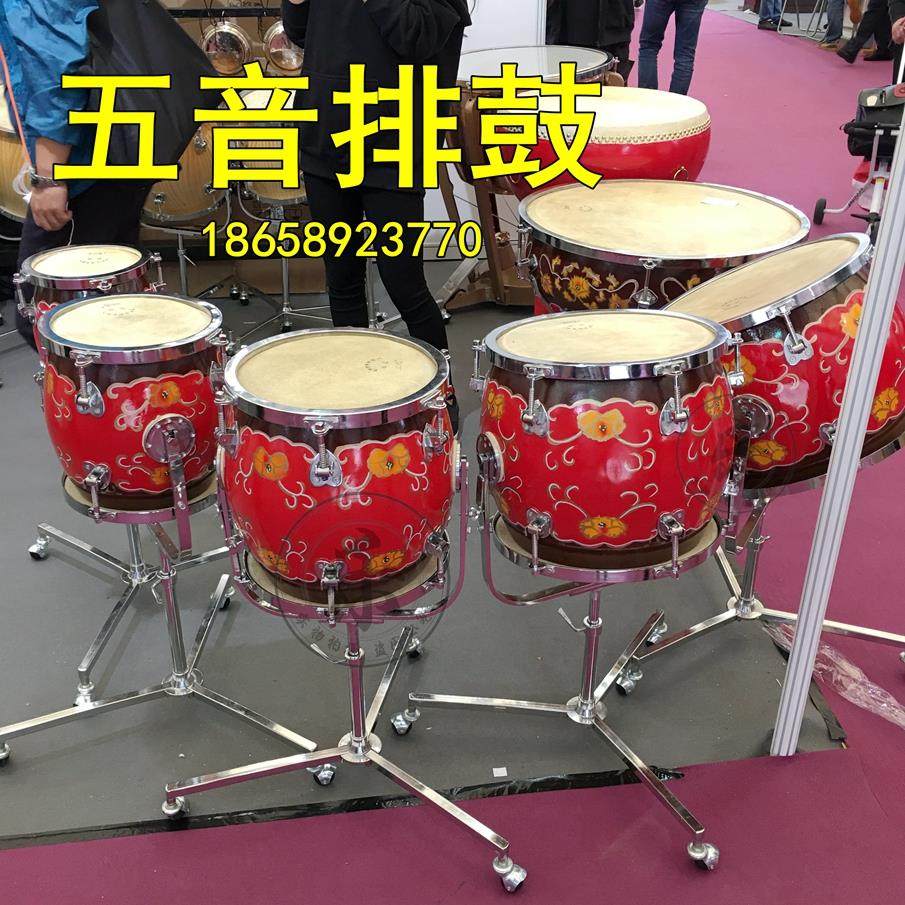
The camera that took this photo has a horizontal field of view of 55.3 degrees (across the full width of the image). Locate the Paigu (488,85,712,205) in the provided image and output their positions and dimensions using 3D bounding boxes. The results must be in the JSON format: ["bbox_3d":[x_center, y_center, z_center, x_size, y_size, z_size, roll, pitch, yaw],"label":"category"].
[{"bbox_3d":[0.498,-0.831,2.414,0.446,0.243,0.409,0,28,1],"label":"Paigu"}]

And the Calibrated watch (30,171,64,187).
[{"bbox_3d":[-0.997,-0.664,2.117,0.063,0.022,0.044,2,7,2],"label":"Calibrated watch"}]

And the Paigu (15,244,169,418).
[{"bbox_3d":[-0.848,-0.307,2.026,0.454,0.272,0.389,2,28,-1],"label":"Paigu"}]
